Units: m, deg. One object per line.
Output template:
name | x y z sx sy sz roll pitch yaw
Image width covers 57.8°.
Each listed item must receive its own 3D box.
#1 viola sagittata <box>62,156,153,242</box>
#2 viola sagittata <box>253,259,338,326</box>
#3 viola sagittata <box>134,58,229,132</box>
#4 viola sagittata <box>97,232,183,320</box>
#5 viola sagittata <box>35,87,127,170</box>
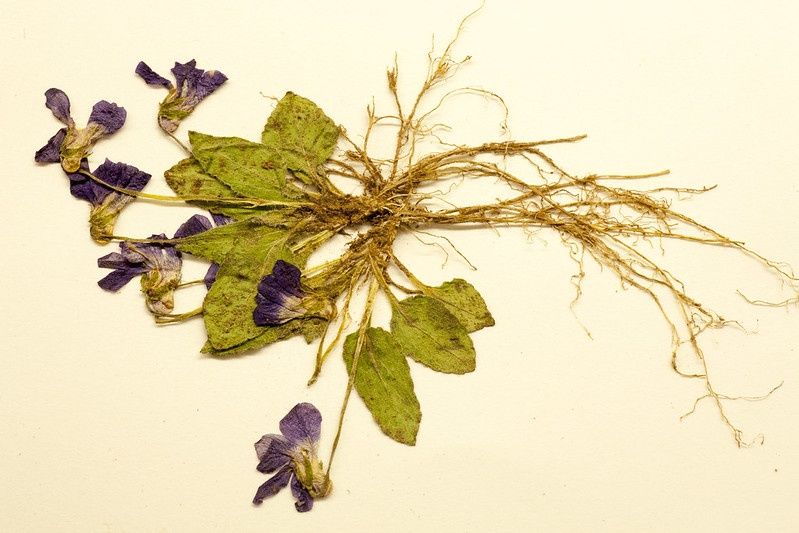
viola sagittata | -1.043 -0.221 2.563 0.297 0.278 0.068 5 -6 -7
viola sagittata | -0.374 0.100 2.503 0.322 0.222 0.084 -6 -71 44
viola sagittata | -0.809 -0.649 2.567 0.220 0.239 0.246 -26 -60 37
viola sagittata | -0.891 0.018 2.547 0.290 0.118 0.288 -36 -96 6
viola sagittata | -1.151 -0.478 2.576 0.287 0.232 0.191 15 -44 5
